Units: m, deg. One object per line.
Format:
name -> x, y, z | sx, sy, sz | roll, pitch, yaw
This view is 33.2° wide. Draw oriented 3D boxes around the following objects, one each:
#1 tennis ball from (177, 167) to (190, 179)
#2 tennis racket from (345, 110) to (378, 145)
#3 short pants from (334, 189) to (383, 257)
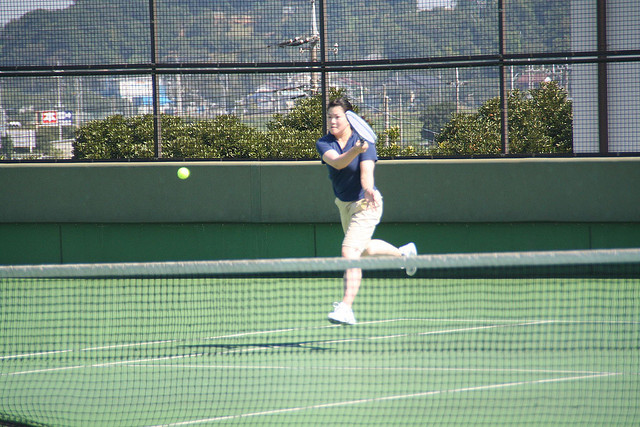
tennis ball -> -1.879, -0.566, 14.787 | 0.162, 0.157, 0.068 | -1, 2, -12
tennis racket -> 0.467, -1.007, 12.309 | 0.294, 0.403, 0.353 | 2, 3, 37
short pants -> 0.436, 0.085, 12.438 | 0.549, 0.719, 0.434 | 1, 3, 15
